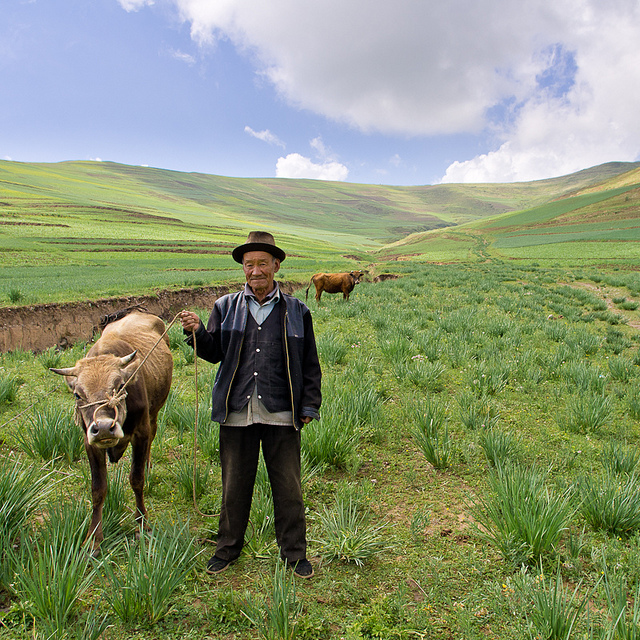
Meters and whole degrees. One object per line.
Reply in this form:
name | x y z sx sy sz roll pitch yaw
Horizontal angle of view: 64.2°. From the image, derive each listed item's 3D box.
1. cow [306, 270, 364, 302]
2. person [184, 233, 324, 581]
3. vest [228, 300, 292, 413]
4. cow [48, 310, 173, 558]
cow | 0.427 -1.264 19.149 2.512 1.498 0.962 -1 6 16
person | -0.553 0.699 4.623 1.121 2.948 0.813 2 6 1
vest | -0.529 0.333 4.639 0.560 0.942 0.378 2 6 -4
cow | -2.238 1.154 5.926 0.902 2.221 3.640 -1 5 -11
